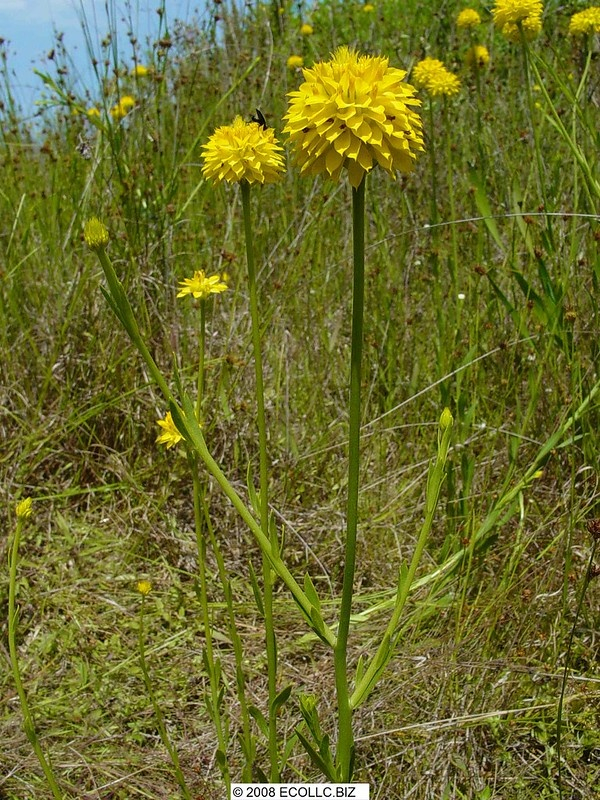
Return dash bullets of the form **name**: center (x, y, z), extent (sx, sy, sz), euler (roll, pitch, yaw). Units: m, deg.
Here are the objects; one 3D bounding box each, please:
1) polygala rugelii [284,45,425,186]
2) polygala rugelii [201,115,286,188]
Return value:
- **polygala rugelii**: center (0.067, -0.336, 0.888), extent (0.163, 0.155, 0.194), euler (4, 31, 21)
- **polygala rugelii**: center (-0.084, -0.387, 1.147), extent (0.115, 0.099, 0.126), euler (5, 12, -23)
